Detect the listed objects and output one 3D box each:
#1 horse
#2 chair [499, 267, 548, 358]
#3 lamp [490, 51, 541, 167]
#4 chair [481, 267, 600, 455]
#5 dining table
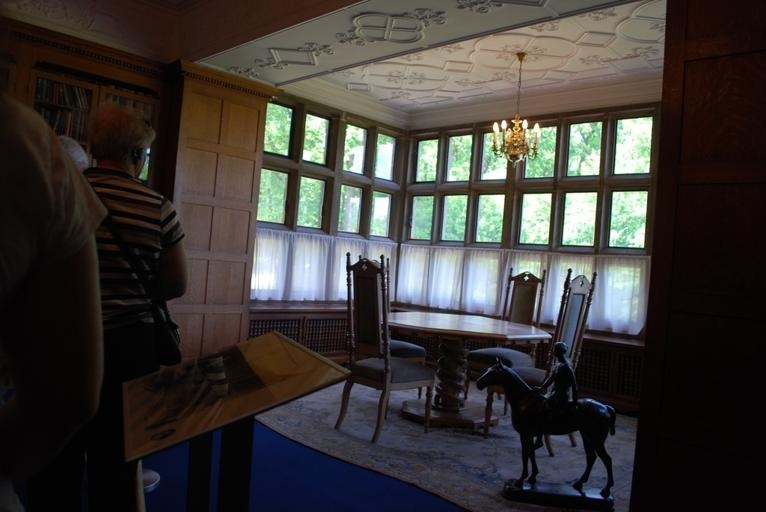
[{"bbox_3d":[0.972,1.043,3.056,0.801,0.679,0.220,2,-12,15],"label":"horse"},{"bbox_3d":[1.470,0.600,5.394,0.517,0.988,0.522,-2,13,-33],"label":"chair"},{"bbox_3d":[1.379,-1.525,5.128,0.608,1.068,0.595,-8,28,-8],"label":"lamp"},{"bbox_3d":[1.206,0.864,4.336,0.857,1.273,0.773,-3,4,30],"label":"chair"},{"bbox_3d":[0.681,0.867,4.166,1.060,0.572,1.060,8,4,15],"label":"dining table"}]
